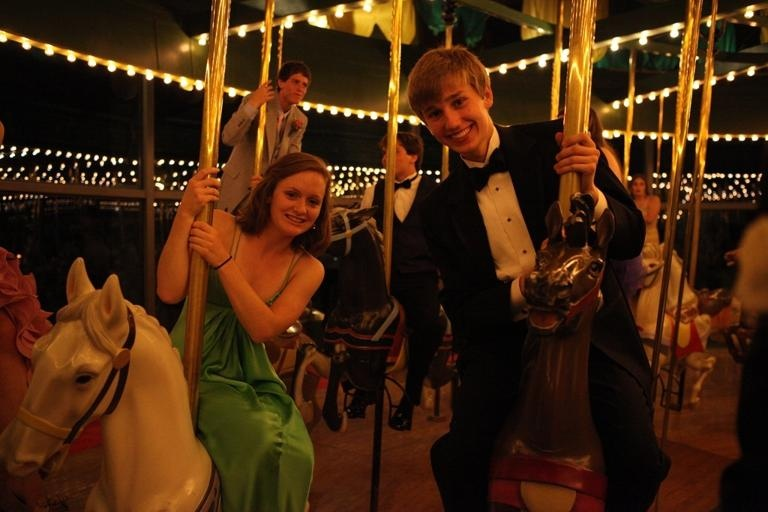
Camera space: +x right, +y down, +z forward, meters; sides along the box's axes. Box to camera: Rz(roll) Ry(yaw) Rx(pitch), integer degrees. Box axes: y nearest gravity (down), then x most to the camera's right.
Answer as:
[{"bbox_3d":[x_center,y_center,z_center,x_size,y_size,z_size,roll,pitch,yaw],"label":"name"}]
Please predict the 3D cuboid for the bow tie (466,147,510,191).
[{"bbox_3d":[0.488,-0.405,3.065,0.066,0.186,0.183,34,28,9],"label":"bow tie"}]

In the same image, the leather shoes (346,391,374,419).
[{"bbox_3d":[-0.157,1.035,4.479,0.124,0.132,0.271,1,3,20],"label":"leather shoes"}]
